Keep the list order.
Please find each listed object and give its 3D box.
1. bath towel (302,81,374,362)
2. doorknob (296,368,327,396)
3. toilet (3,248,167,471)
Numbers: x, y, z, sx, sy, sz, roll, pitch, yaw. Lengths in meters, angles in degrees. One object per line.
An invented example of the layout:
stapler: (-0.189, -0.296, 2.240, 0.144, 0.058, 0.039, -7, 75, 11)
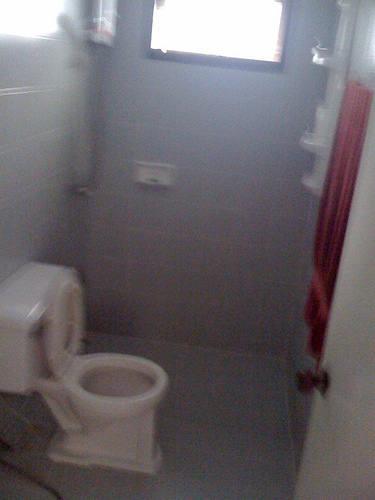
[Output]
bath towel: (0.366, -0.008, 1.109, 0.081, 0.793, 0.404, 12, 24, 15)
doorknob: (0.359, 0.374, 1.213, 0.080, 0.053, 0.108, -2, 25, 8)
toilet: (-0.291, 0.300, 1.327, 0.432, 0.531, 0.439, 3, 23, -6)
